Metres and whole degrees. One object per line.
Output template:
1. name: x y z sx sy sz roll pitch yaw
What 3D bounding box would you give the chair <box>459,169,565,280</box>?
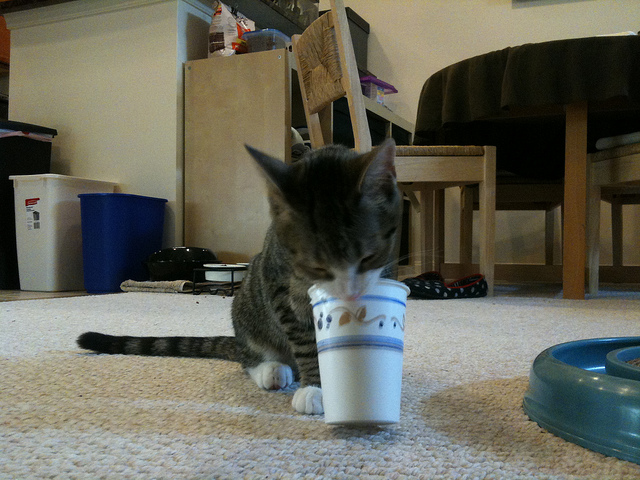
1. chair: 1.225 -0.198 3.850 0.564 0.546 0.431 24 -8 -16

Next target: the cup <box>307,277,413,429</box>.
1. cup: 0.089 0.262 1.341 0.269 0.325 0.268 0 -18 0

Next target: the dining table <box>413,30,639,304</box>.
1. dining table: 0.992 -0.241 2.979 1.210 1.109 1.268 0 -3 -1

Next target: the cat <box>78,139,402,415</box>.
1. cat: -0.060 0.063 1.467 0.446 0.608 0.384 4 15 19
